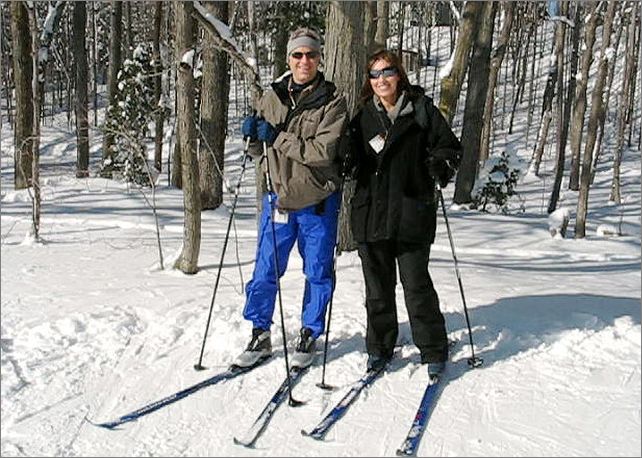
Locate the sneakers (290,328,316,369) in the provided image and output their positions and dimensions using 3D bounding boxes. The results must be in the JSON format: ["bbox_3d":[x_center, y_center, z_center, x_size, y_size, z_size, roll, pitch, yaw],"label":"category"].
[{"bbox_3d":[-0.197,1.319,6.649,0.161,0.259,0.515,2,10,10],"label":"sneakers"}]

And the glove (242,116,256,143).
[{"bbox_3d":[-0.769,-1.065,6.433,0.158,0.255,0.077,-3,-4,39],"label":"glove"}]

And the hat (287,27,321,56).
[{"bbox_3d":[-0.194,-2.017,6.576,0.226,0.296,0.342,7,32,-1],"label":"hat"}]

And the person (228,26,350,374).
[{"bbox_3d":[-0.293,-0.323,6.575,1.114,3.632,0.740,2,11,2],"label":"person"}]

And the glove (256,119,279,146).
[{"bbox_3d":[-0.568,-1.032,6.413,0.227,0.236,0.098,1,11,-6],"label":"glove"}]
